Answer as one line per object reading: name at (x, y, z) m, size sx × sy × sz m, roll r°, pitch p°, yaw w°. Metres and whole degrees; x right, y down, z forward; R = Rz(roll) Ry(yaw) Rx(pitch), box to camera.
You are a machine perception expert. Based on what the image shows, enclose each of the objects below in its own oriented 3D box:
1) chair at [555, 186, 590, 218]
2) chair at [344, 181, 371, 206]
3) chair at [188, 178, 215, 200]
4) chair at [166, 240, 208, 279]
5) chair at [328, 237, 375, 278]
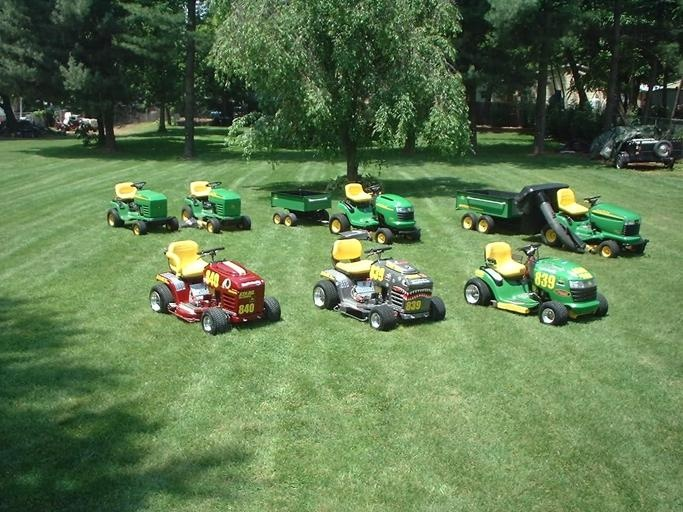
chair at (6.736, -1.475, 17.597) m, size 0.718 × 0.874 × 0.935 m, roll -16°, pitch 30°, yaw -25°
chair at (0.479, -1.959, 19.070) m, size 0.567 × 0.486 × 0.726 m, roll -12°, pitch 23°, yaw -25°
chair at (-4.664, -2.209, 19.975) m, size 0.668 × 0.457 × 1.479 m, roll -3°, pitch 16°, yaw -13°
chair at (-3.269, 0.073, 12.937) m, size 0.854 × 0.794 × 0.773 m, roll -10°, pitch 19°, yaw -41°
chair at (0.178, 0.074, 13.468) m, size 0.779 × 1.008 × 0.862 m, roll -7°, pitch 13°, yaw -31°
